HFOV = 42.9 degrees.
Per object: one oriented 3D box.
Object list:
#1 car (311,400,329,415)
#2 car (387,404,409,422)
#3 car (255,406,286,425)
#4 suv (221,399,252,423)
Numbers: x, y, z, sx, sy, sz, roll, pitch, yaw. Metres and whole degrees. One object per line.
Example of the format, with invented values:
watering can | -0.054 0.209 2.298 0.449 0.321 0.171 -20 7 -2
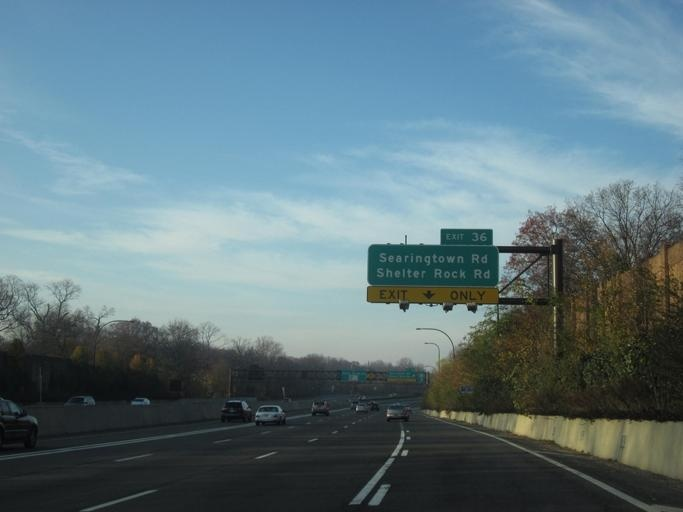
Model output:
car | -2.076 15.528 87.647 1.105 1.124 1.990 0 -1 4
car | 4.344 12.015 66.702 1.591 1.310 2.277 2 -11 0
car | -4.790 10.653 58.101 1.863 1.227 1.182 5 -11 -15
suv | -7.465 11.237 62.612 1.263 1.532 2.716 -5 -13 32
